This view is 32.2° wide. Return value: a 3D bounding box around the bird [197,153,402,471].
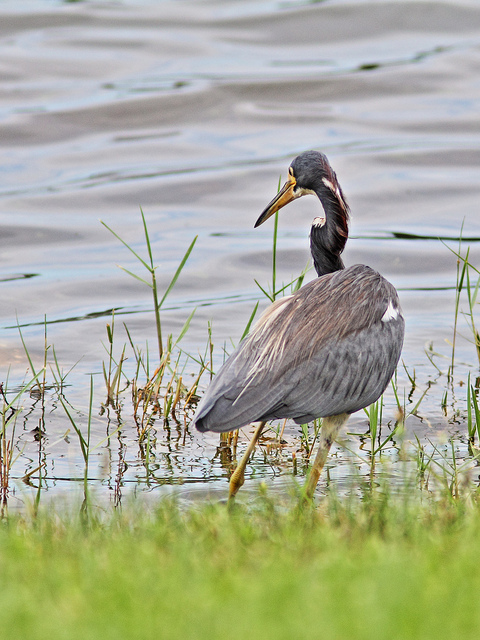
[{"bbox_3d":[0.378,0.063,4.706,1.063,2.029,1.483,-1,10,6],"label":"bird"}]
